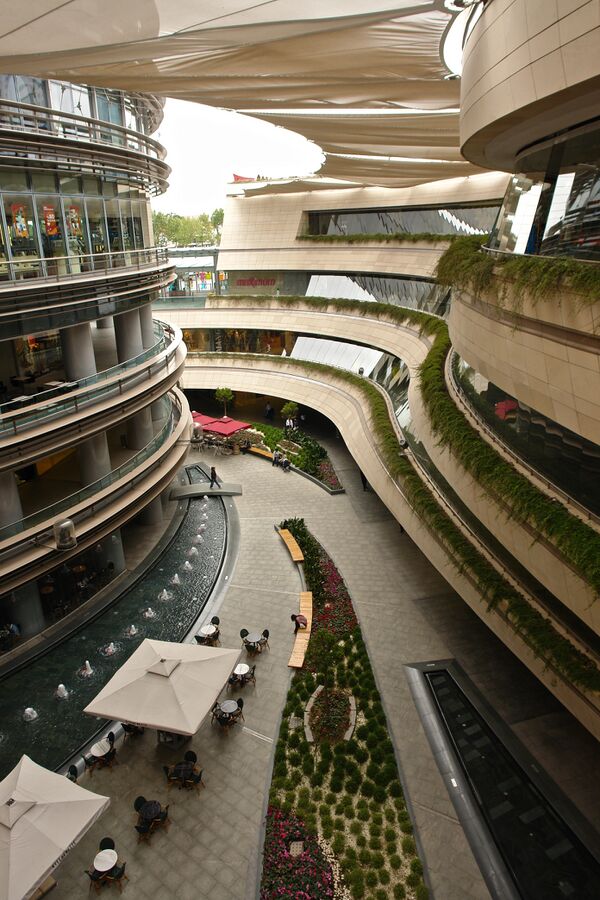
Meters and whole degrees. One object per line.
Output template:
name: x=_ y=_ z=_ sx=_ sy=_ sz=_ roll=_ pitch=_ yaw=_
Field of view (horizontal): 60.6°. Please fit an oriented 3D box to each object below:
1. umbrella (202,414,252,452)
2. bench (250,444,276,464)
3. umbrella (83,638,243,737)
umbrella: x=-4.190 y=-0.900 z=28.644 sx=2.152 sy=1.023 sz=2.246 roll=-25 pitch=50 yaw=-33
bench: x=-2.126 y=0.228 z=28.395 sx=0.547 sy=0.700 sz=2.401 roll=-5 pitch=19 yaw=-44
umbrella: x=-2.788 y=4.644 z=10.149 sx=2.141 sy=0.722 sz=2.165 roll=5 pitch=30 yaw=13
